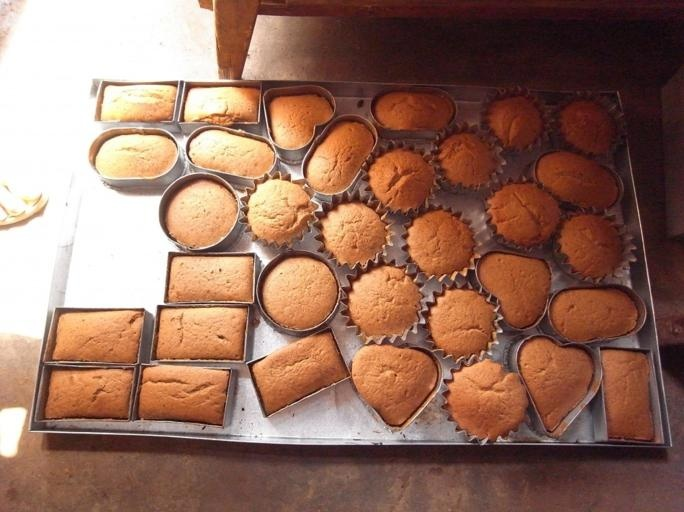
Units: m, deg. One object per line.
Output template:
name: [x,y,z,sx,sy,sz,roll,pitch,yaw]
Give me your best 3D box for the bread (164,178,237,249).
bread: [-1.856,-0.563,7.467,0.955,0.215,0.895,-29,72,-18]
